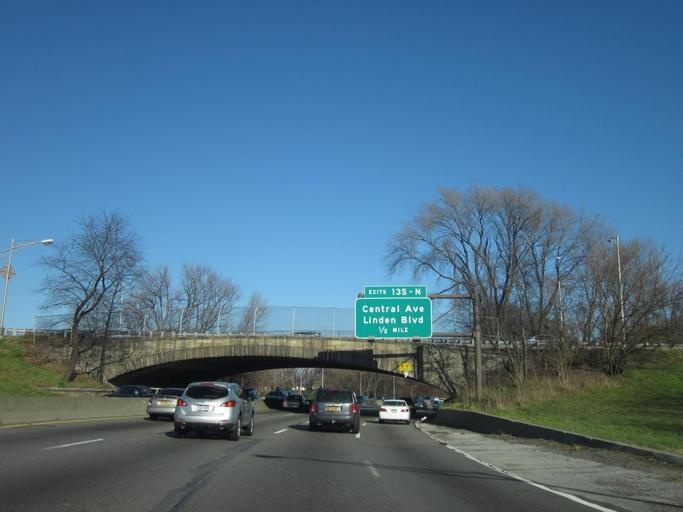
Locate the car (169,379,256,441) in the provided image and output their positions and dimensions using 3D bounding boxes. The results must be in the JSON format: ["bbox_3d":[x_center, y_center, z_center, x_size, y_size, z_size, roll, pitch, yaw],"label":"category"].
[{"bbox_3d":[-4.414,5.852,22.944,1.558,1.390,3.583,0,-11,5],"label":"car"}]
